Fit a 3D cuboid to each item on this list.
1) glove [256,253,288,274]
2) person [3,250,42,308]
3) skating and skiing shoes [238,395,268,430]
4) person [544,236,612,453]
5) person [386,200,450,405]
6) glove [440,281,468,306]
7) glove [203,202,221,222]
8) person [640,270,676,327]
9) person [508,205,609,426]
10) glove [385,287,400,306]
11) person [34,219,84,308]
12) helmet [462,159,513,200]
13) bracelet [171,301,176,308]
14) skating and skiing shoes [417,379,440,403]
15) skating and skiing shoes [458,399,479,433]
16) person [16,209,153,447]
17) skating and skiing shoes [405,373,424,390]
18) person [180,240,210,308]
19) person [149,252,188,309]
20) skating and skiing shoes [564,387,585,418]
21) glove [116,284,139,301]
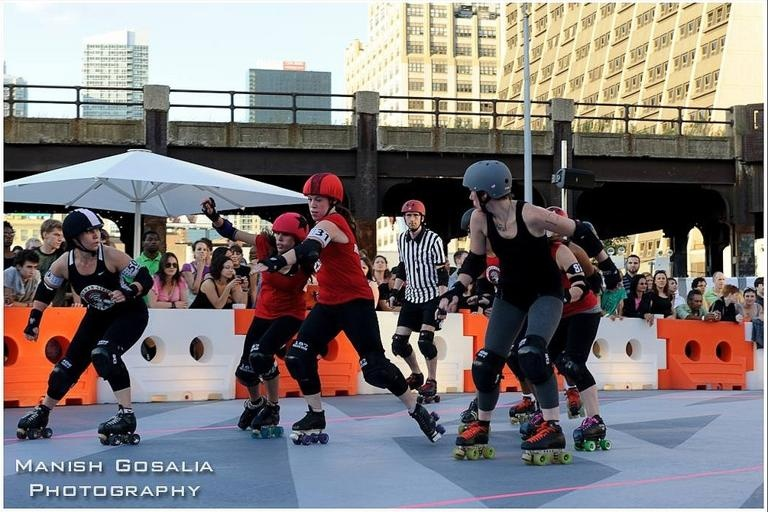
[{"bbox_3d":[-1.234,0.094,10.714,0.262,0.184,0.104,-5,-40,-24],"label":"glove"},{"bbox_3d":[-5.563,0.369,14.847,0.539,1.412,0.570,1,-1,-12],"label":"person"},{"bbox_3d":[-1.750,2.031,12.614,0.298,0.602,0.219,6,34,-40],"label":"skating and skiing shoes"},{"bbox_3d":[2.408,1.032,11.911,0.744,2.666,1.019,1,0,0],"label":"person"},{"bbox_3d":[0.588,0.725,15.545,0.876,3.274,1.311,-2,1,-36],"label":"person"},{"bbox_3d":[0.830,0.460,11.466,0.216,0.326,0.137,44,-4,5],"label":"glove"},{"bbox_3d":[-2.352,-0.633,13.253,0.162,0.179,0.532,-10,7,-2],"label":"glove"},{"bbox_3d":[5.170,0.773,18.124,0.540,1.346,0.529,3,-1,-16],"label":"person"},{"bbox_3d":[2.388,0.830,12.179,0.939,3.611,1.580,0,-3,12],"label":"person"},{"bbox_3d":[0.185,0.694,16.504,0.221,0.302,0.116,3,-15,40],"label":"glove"},{"bbox_3d":[-5.188,-0.095,15.563,0.818,2.301,0.730,0,-1,-28],"label":"person"},{"bbox_3d":[1.186,-0.914,11.150,0.549,0.415,0.463,-1,17,11],"label":"helmet"},{"bbox_3d":[-3.350,0.770,15.368,0.060,0.081,0.084,0,-9,-2],"label":"bracelet"},{"bbox_3d":[0.714,2.137,15.168,0.213,0.288,0.426,-4,-16,15],"label":"skating and skiing shoes"},{"bbox_3d":[1.086,2.063,12.520,0.223,0.282,0.621,-3,-1,17],"label":"skating and skiing shoes"},{"bbox_3d":[-3.663,0.837,11.939,1.427,2.847,0.914,1,3,26],"label":"person"},{"bbox_3d":[0.588,1.990,15.493,0.522,0.224,0.183,2,-3,-16],"label":"skating and skiing shoes"},{"bbox_3d":[-3.246,0.193,16.473,0.411,1.318,0.403,2,0,6],"label":"person"},{"bbox_3d":[-3.445,0.436,15.522,0.442,1.032,0.460,0,0,3],"label":"person"},{"bbox_3d":[2.621,2.033,13.491,0.198,0.267,0.599,-18,8,8],"label":"skating and skiing shoes"},{"bbox_3d":[-3.130,0.430,11.752,0.259,0.124,0.149,-15,5,-33],"label":"glove"}]
